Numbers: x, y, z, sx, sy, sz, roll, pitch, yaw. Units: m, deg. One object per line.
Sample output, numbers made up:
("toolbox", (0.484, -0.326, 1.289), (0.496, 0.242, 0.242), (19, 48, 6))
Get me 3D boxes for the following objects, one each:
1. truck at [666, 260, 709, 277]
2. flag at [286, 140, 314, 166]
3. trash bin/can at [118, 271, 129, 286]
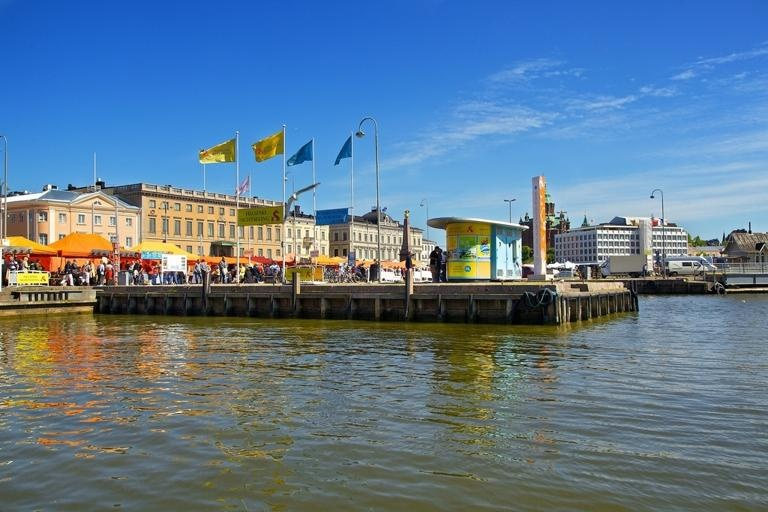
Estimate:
("truck", (32.002, 1.633, 81.713), (3.570, 1.551, 2.432), (-2, 1, 11))
("flag", (-5.092, -6.516, 49.023), (1.195, 1.473, 3.746), (-3, 4, -8))
("trash bin/can", (-16.335, 1.378, 48.982), (0.472, 0.819, 1.253), (-5, 5, -38))
